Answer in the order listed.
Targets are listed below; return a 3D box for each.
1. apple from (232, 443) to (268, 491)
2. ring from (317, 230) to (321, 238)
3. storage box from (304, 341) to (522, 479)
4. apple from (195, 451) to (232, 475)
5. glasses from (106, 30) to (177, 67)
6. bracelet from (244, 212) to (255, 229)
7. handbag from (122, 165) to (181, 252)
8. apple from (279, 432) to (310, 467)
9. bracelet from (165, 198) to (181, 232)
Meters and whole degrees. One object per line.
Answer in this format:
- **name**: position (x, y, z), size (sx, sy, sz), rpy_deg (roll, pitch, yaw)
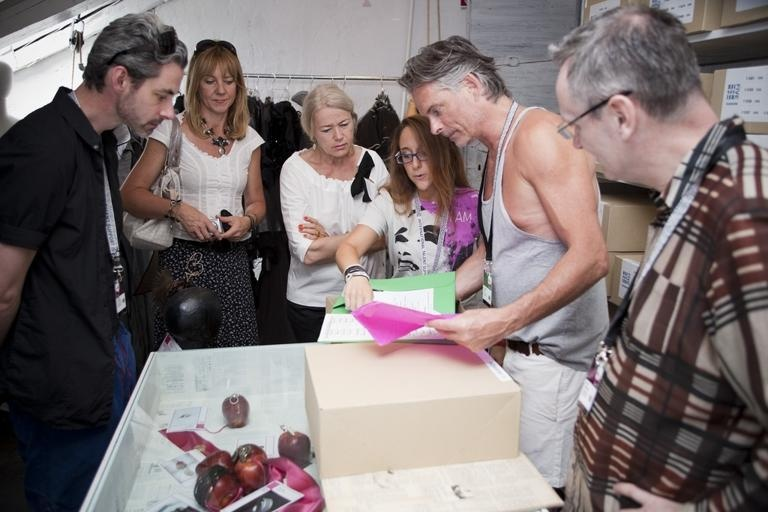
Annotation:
- **apple**: position (-0.365, 0.576, 1.361), size (0.073, 0.087, 0.105), rpy_deg (-11, 13, 2)
- **ring**: position (-0.343, -0.116, 2.583), size (0.023, 0.024, 0.007), rpy_deg (9, -24, -26)
- **storage box**: position (0.057, 0.405, 1.347), size (0.371, 0.151, 0.369), rpy_deg (-2, 9, -12)
- **apple**: position (-0.483, 0.576, 1.374), size (0.091, 0.057, 0.065), rpy_deg (-22, -19, -12)
- **glasses**: position (-0.846, -0.736, 1.708), size (0.178, 0.065, 0.143), rpy_deg (-18, -5, -13)
- **bracelet**: position (-0.726, -0.196, 2.624), size (0.032, 0.056, 0.070), rpy_deg (6, -34, -46)
- **handbag**: position (-1.153, -0.239, 2.399), size (0.200, 0.408, 0.308), rpy_deg (21, -3, -31)
- **apple**: position (-0.258, 0.549, 1.433), size (0.081, 0.084, 0.080), rpy_deg (4, 2, -37)
- **bracelet**: position (-1.027, -0.216, 2.415), size (0.045, 0.122, 0.097), rpy_deg (1, -41, -14)
